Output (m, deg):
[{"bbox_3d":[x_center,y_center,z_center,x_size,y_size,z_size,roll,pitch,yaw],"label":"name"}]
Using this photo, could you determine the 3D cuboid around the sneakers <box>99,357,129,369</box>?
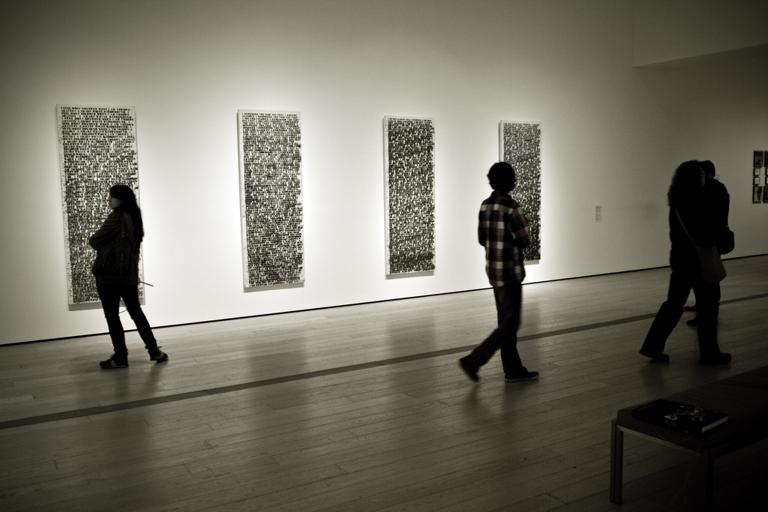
[{"bbox_3d":[-3.232,1.273,6.731,0.301,0.130,0.137,4,-4,-4],"label":"sneakers"}]

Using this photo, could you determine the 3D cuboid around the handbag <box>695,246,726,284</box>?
[{"bbox_3d":[3.521,0.093,6.061,0.297,0.394,0.192,-22,-5,17],"label":"handbag"}]

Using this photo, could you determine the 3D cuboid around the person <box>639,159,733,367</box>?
[{"bbox_3d":[3.378,0.094,6.182,0.868,2.243,0.380,3,11,26],"label":"person"}]

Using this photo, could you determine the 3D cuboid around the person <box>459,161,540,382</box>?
[{"bbox_3d":[1.221,0.207,5.779,0.727,2.302,0.487,1,10,15],"label":"person"}]

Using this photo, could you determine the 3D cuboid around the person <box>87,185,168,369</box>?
[{"bbox_3d":[-3.106,0.232,6.746,0.737,2.148,0.506,-3,10,-11],"label":"person"}]

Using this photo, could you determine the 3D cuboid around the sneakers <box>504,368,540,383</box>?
[{"bbox_3d":[1.451,1.268,5.981,0.381,0.154,0.142,-2,2,-9],"label":"sneakers"}]
